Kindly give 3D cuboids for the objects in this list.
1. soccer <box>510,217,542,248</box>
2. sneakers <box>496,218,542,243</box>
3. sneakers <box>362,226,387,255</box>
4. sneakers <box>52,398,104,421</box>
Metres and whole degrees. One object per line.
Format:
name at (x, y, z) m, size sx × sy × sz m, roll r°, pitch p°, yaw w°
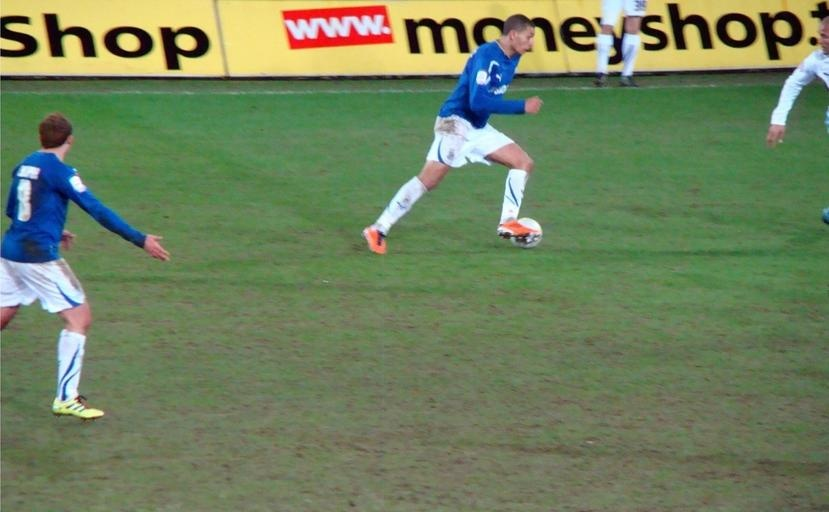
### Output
soccer at (1.313, -0.266, 15.784) m, size 0.410 × 0.303 × 0.344 m, roll 0°, pitch -2°, yaw 4°
sneakers at (1.208, -0.285, 15.799) m, size 0.506 × 0.177 × 0.228 m, roll 5°, pitch 29°, yaw -20°
sneakers at (-0.441, -0.195, 15.720) m, size 0.264 × 0.302 × 0.236 m, roll -1°, pitch 19°, yaw -1°
sneakers at (-3.193, 1.429, 13.259) m, size 0.611 × 0.201 × 0.189 m, roll 4°, pitch 16°, yaw -7°
